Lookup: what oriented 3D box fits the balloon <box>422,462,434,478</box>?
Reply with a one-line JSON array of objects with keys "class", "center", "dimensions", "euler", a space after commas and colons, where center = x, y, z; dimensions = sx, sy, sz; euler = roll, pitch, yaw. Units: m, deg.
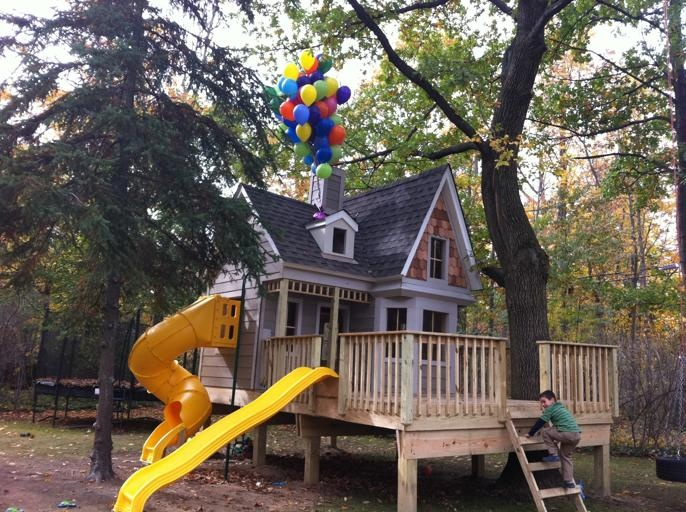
[{"class": "balloon", "center": [2.278, 5.804, 17.887], "dimensions": [0.344, 0.485, 0.372], "euler": [10, -10, -28]}]

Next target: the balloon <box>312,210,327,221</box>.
[{"class": "balloon", "center": [-0.665, -1.165, 19.123], "dimensions": [0.404, 0.363, 0.294], "euler": [0, -14, 15]}]

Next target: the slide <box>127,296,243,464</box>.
[{"class": "slide", "center": [-4.421, 2.873, 17.187], "dimensions": [2.551, 4.436, 2.469], "euler": [5, -7, -34]}]

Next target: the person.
[{"class": "person", "center": [4.555, 3.947, 14.389], "dimensions": [1.030, 2.047, 0.587], "euler": [6, -13, -8]}]
